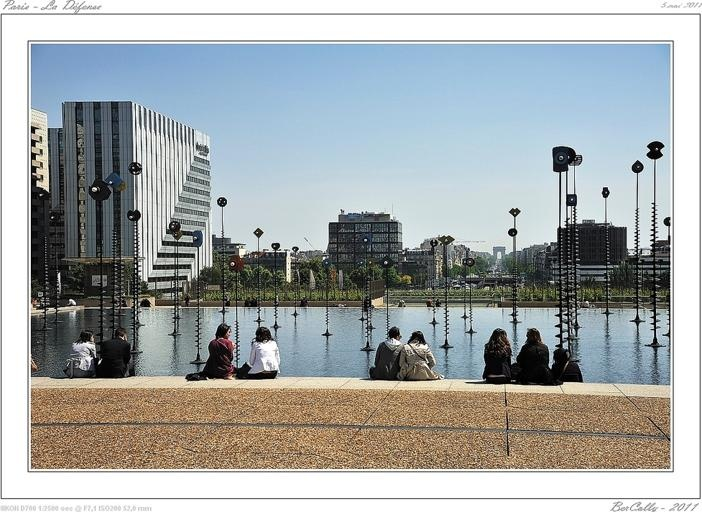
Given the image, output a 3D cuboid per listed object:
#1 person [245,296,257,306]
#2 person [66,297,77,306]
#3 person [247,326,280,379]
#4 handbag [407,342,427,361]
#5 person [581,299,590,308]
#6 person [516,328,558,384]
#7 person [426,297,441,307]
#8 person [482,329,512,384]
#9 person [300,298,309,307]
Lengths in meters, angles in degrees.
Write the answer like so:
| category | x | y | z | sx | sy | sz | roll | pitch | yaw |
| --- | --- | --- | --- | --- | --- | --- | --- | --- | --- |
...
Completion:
| category | x | y | z | sx | sy | sz | roll | pitch | yaw |
| --- | --- | --- | --- | --- | --- | --- | --- | --- | --- |
| person | -7.151 | 3.246 | 75.729 | 0.771 | 0.424 | 0.719 | -1 | 0 | 9 |
| person | -22.029 | 3.621 | 83.657 | 0.823 | 0.708 | 0.696 | -1 | 1 | 13 |
| person | -2.644 | 2.890 | 31.877 | 0.909 | 1.555 | 1.521 | 0 | 2 | -5 |
| handbag | 1.891 | 2.815 | 31.165 | 0.599 | 0.485 | 0.307 | 3 | 0 | 9 |
| person | 15.480 | 3.230 | 70.867 | 0.607 | 0.485 | 0.768 | 1 | -4 | 5 |
| person | 5.202 | 2.870 | 30.318 | 1.076 | 1.470 | 0.476 | 0 | 2 | 13 |
| person | 6.060 | 3.464 | 79.048 | 1.356 | 0.624 | 1.651 | 0 | -5 | -2 |
| person | 4.220 | 2.875 | 30.944 | 0.815 | 1.469 | 0.946 | 0 | 2 | 7 |
| person | -3.425 | 3.369 | 76.644 | 0.646 | 0.790 | 0.456 | 4 | 5 | 25 |
